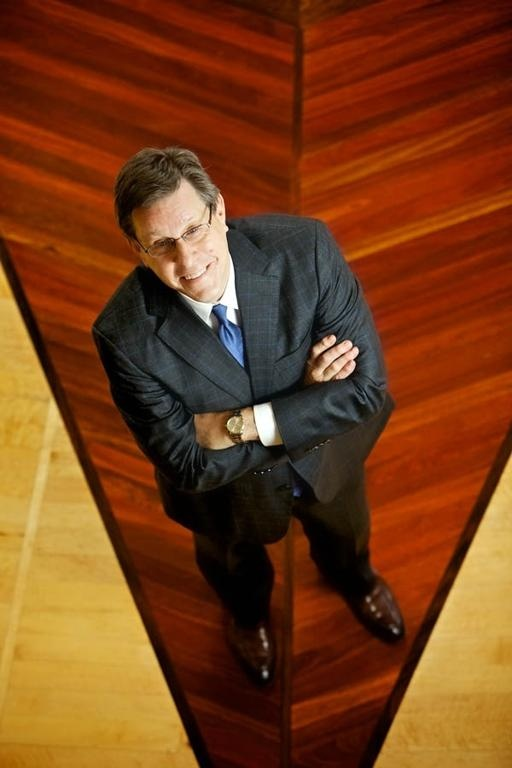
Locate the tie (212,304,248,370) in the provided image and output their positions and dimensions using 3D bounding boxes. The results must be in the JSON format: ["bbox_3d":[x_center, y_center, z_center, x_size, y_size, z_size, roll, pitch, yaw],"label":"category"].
[{"bbox_3d":[-0.046,-0.088,1.282,0.042,0.131,0.018,-29,14,-1],"label":"tie"}]

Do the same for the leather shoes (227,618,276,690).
[{"bbox_3d":[-0.006,0.553,1.436,0.080,0.125,0.031,-29,-15,3],"label":"leather shoes"}]

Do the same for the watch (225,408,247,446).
[{"bbox_3d":[-0.036,0.074,1.250,0.040,0.053,0.061,-2,-16,10],"label":"watch"}]

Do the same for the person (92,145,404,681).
[{"bbox_3d":[0.012,0.074,1.340,0.564,1.030,0.425,2,31,11],"label":"person"}]
